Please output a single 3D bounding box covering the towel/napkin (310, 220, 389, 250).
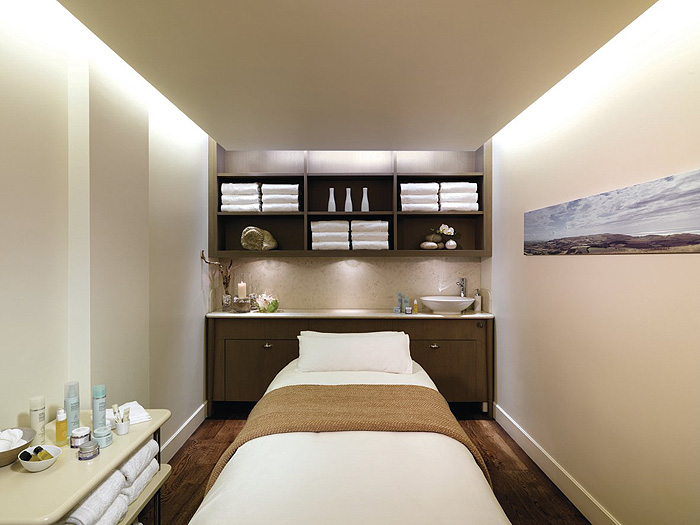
[{"bbox_3d":[0.002,-0.259,4.690,0.727,0.277,0.116,-4,0,2],"label":"towel/napkin"}]

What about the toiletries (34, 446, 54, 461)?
[{"bbox_3d":[-1.519,0.937,2.421,0.082,0.088,0.051,-2,-4,33],"label":"toiletries"}]

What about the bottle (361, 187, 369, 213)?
[{"bbox_3d":[0.152,-0.621,4.762,0.092,0.250,0.326,-3,0,2],"label":"bottle"}]

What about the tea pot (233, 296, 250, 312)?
[{"bbox_3d":[-1.023,0.392,4.618,0.136,0.108,0.127,0,-2,0],"label":"tea pot"}]

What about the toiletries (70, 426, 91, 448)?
[{"bbox_3d":[-1.402,0.899,2.530,0.071,0.076,0.102,2,1,6],"label":"toiletries"}]

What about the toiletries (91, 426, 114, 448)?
[{"bbox_3d":[-1.292,0.911,2.556,0.086,0.087,0.097,1,3,-4],"label":"toiletries"}]

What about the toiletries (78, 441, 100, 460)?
[{"bbox_3d":[-1.316,0.945,2.453,0.080,0.053,0.083,0,0,-6],"label":"toiletries"}]

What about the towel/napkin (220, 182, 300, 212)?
[{"bbox_3d":[-0.867,-0.612,4.649,0.743,0.291,0.119,-4,0,0],"label":"towel/napkin"}]

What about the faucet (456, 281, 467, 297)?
[{"bbox_3d":[1.135,0.248,4.909,0.090,0.160,0.078,-3,0,13],"label":"faucet"}]

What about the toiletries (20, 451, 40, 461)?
[{"bbox_3d":[-1.582,0.944,2.391,0.053,0.022,0.043,4,-1,27],"label":"toiletries"}]

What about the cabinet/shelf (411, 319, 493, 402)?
[{"bbox_3d":[0.895,0.880,4.769,1.011,1.029,0.634,0,-3,1],"label":"cabinet/shelf"}]

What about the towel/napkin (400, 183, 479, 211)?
[{"bbox_3d":[0.851,-0.620,4.638,0.710,0.259,0.112,-4,0,5],"label":"towel/napkin"}]

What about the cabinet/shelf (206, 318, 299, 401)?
[{"bbox_3d":[-0.844,0.877,4.781,1.044,1.052,0.652,0,-3,-4],"label":"cabinet/shelf"}]

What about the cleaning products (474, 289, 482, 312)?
[{"bbox_3d":[1.272,0.366,4.787,0.079,0.194,0.229,-3,0,15],"label":"cleaning products"}]

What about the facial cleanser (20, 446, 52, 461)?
[{"bbox_3d":[-1.549,0.943,2.399,0.080,0.028,0.083,7,-5,-19],"label":"facial cleanser"}]

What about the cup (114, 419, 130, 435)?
[{"bbox_3d":[-1.235,0.887,2.647,0.066,0.067,0.059,1,1,-29],"label":"cup"}]

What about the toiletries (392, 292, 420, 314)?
[{"bbox_3d":[0.562,0.407,4.776,0.246,0.257,0.181,1,-8,-6],"label":"toiletries"}]
